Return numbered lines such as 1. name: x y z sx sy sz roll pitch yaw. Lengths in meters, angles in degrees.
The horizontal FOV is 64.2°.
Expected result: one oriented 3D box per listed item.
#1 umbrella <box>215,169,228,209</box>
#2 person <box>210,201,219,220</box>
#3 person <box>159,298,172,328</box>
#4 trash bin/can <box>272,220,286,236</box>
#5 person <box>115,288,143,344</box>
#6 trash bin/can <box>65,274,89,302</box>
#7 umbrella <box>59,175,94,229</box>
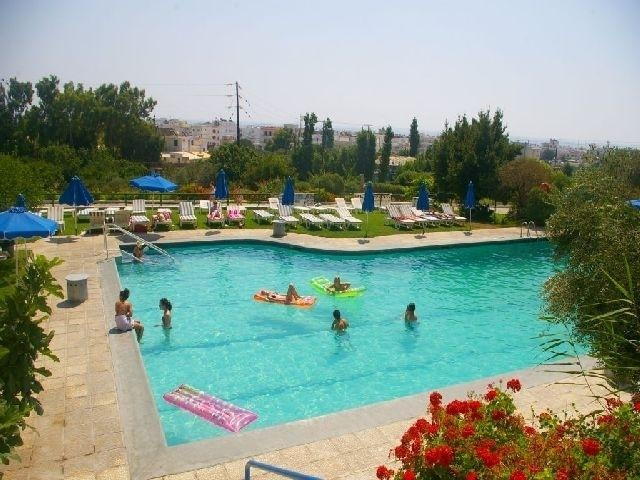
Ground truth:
1. umbrella: -4.807 -2.682 24.852 0.590 1.399 1.623 -2 7 -13
2. person: -4.986 -1.373 24.130 0.410 0.792 1.350 4 16 -6
3. person: -4.073 1.882 13.524 0.274 0.792 0.771 -2 7 -16
4. trash bin/can: -1.818 -0.522 22.358 0.579 0.684 0.641 1 8 3
5. person: -4.627 1.853 12.364 0.625 1.358 0.963 -3 7 -23
6. trash bin/can: -6.512 1.306 13.690 0.523 0.681 0.457 -2 7 -19
7. umbrella: -9.675 -1.284 20.290 1.177 2.516 1.088 -4 12 -40
